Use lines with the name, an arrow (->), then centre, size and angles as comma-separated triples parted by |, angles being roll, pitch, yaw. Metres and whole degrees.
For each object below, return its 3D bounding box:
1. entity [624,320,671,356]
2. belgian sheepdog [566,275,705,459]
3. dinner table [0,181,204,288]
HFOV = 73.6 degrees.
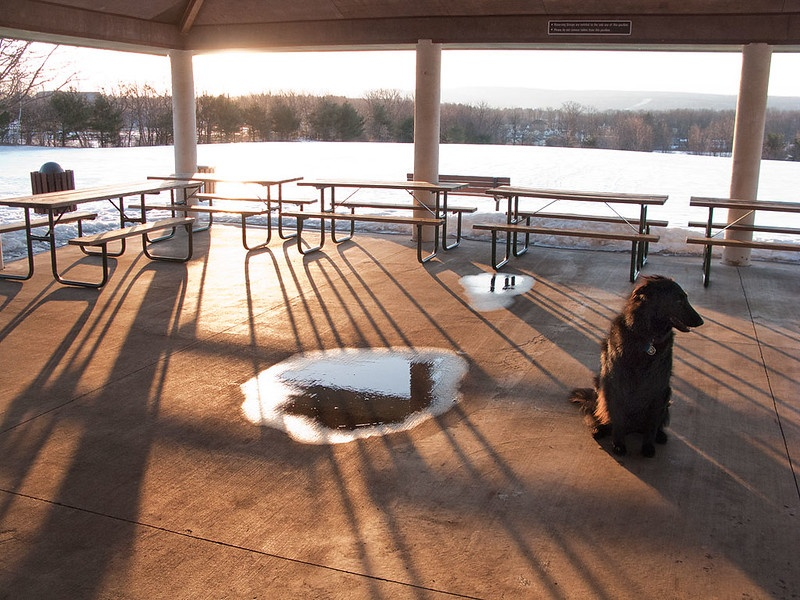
entity -> 1.584, 0.246, 3.408 | 0.275, 0.185, 0.139 | 4, 15, 19
belgian sheepdog -> 1.607, 0.423, 3.559 | 0.621, 1.176, 0.380 | 5, 16, 24
dinner table -> -4.841, -1.042, 8.761 | 1.421, 0.862, 2.430 | 8, 20, 17
